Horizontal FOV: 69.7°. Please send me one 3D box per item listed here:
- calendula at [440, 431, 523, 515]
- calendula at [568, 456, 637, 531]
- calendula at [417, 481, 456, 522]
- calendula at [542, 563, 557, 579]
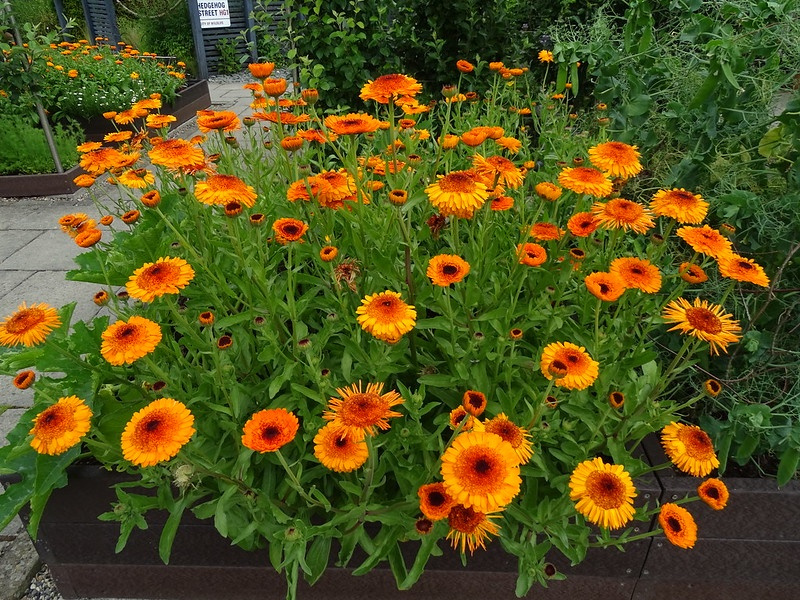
[{"bbox_3d":[0.254,0.534,1.793,0.247,0.128,0.241,22,48,24],"label":"calendula"},{"bbox_3d":[0.639,0.627,1.960,0.243,0.231,0.087,-33,16,-20],"label":"calendula"},{"bbox_3d":[0.118,0.635,1.823,0.127,0.052,0.124,-7,53,-3],"label":"calendula"},{"bbox_3d":[0.578,1.040,2.212,0.063,0.032,0.058,2,53,14],"label":"calendula"}]
